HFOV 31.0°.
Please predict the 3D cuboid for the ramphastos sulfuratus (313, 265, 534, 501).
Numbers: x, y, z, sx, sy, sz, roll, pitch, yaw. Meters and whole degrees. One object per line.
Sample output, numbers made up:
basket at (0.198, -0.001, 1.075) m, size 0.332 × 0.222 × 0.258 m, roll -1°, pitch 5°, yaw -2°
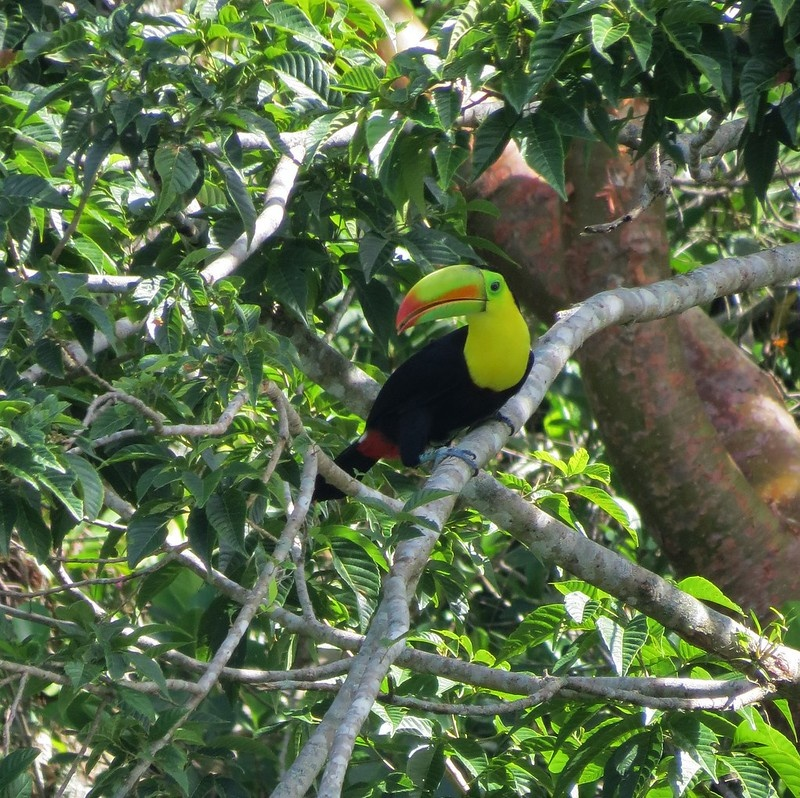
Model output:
ramphastos sulfuratus at (0.078, -0.098, 5.617) m, size 1.014 × 0.786 × 0.555 m, roll -7°, pitch -12°, yaw 18°
